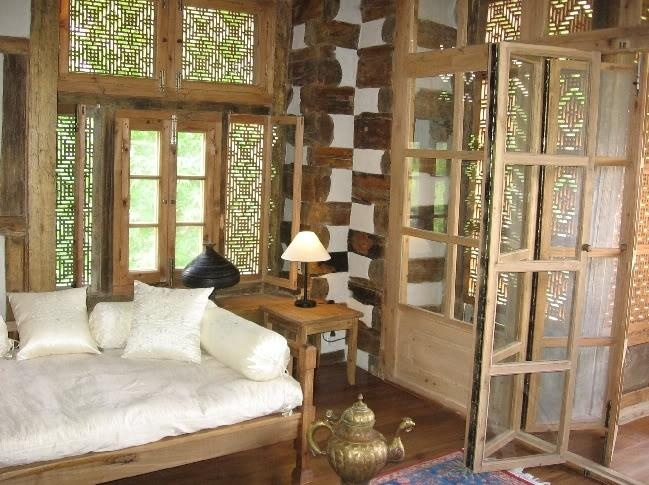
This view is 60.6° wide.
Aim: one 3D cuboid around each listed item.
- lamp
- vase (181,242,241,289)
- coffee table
[{"bbox_3d":[-0.172,0.230,4.878,0.399,0.693,0.514,0,13,-8],"label":"lamp"},{"bbox_3d":[-0.932,0.169,4.624,0.479,0.320,0.460,1,15,25],"label":"vase"},{"bbox_3d":[-0.110,0.749,4.948,0.776,0.714,0.759,-1,6,-30],"label":"coffee table"}]
